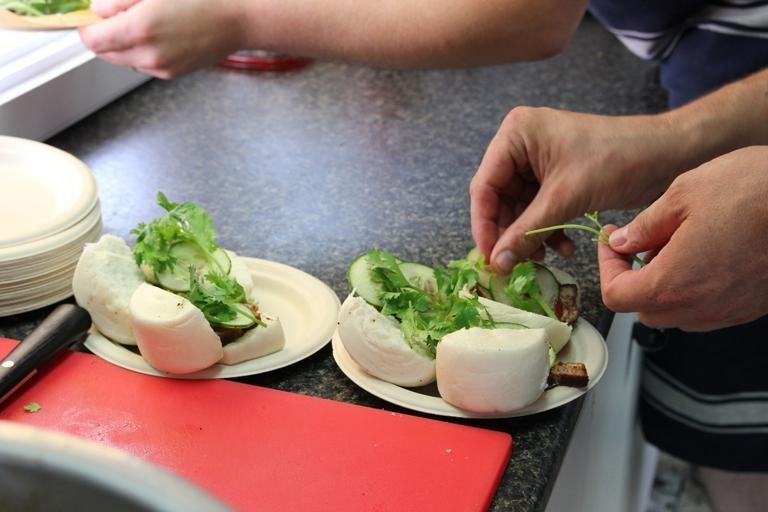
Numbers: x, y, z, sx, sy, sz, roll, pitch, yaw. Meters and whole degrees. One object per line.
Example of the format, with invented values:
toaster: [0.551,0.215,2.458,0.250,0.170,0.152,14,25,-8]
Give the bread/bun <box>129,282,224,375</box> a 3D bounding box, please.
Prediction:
bread/bun: [-0.303,0.106,0.826,0.133,0.093,0.073,16,36,27]

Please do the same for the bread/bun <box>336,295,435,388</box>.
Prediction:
bread/bun: [-0.004,0.122,0.801,0.131,0.120,0.056,44,96,19]

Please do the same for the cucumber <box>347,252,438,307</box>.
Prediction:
cucumber: [0.003,0.023,0.904,0.128,0.082,0.091,-16,24,-40]

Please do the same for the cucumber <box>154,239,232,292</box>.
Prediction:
cucumber: [-0.288,0.015,0.877,0.111,0.070,0.084,16,20,39]
